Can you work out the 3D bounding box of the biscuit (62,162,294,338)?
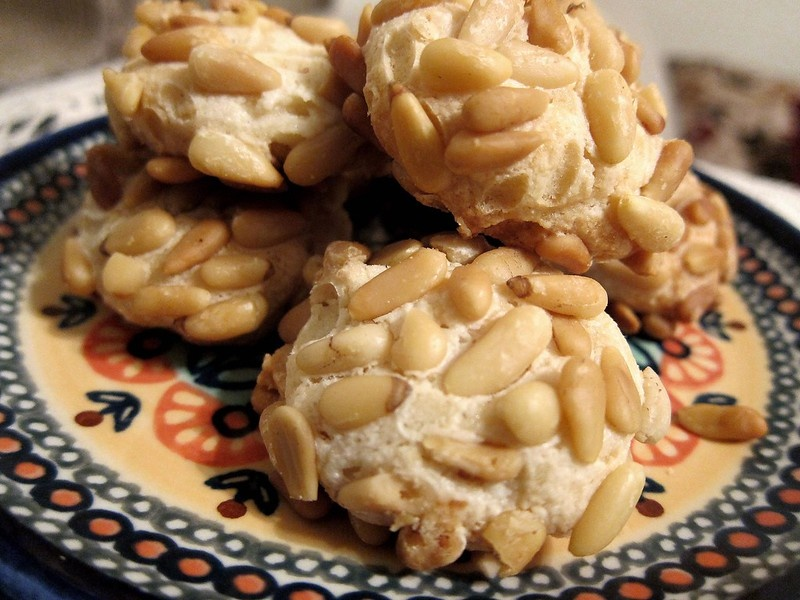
[{"bbox_3d":[-0.372,-0.041,1.591,0.329,0.113,0.293,23,53,2],"label":"biscuit"}]
